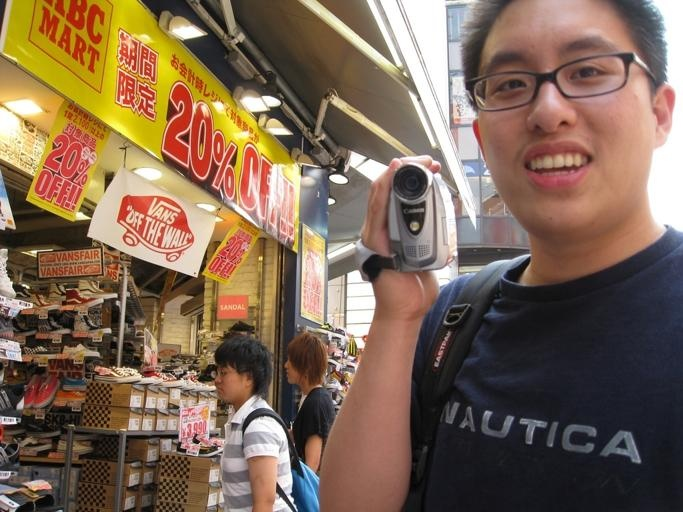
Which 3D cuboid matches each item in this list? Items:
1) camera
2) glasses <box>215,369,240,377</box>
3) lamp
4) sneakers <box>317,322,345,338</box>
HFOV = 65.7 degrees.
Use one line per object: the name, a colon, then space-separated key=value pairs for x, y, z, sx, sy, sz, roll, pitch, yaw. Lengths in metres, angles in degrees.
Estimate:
camera: x=0.176 y=-0.077 z=1.301 sx=0.209 sy=0.316 sz=0.228 roll=-3 pitch=-15 yaw=13
glasses: x=-0.717 y=0.728 z=3.378 sx=0.076 sy=0.052 sz=0.102 roll=-1 pitch=-10 yaw=15
lamp: x=-0.599 y=-1.713 z=6.158 sx=0.598 sy=0.579 sz=3.390 roll=-3 pitch=-34 yaw=32
sneakers: x=-0.163 y=1.067 z=7.637 sx=0.226 sy=0.110 sz=0.314 roll=0 pitch=-18 yaw=25
